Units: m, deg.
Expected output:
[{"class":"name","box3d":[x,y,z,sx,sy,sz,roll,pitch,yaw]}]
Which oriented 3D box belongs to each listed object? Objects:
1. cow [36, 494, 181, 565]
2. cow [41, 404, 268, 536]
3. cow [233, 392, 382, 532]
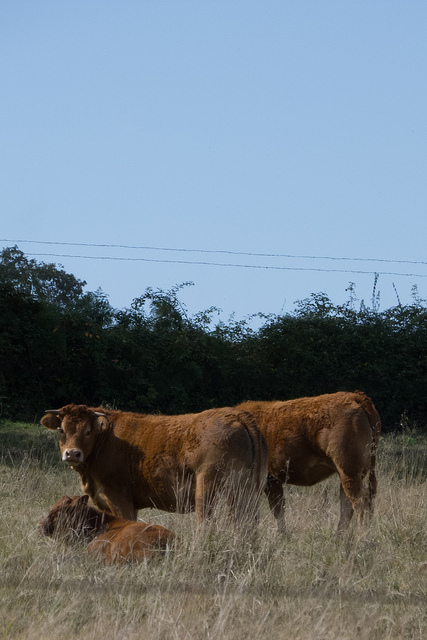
[{"class":"cow","box3d":[-0.775,1.581,7.994,1.196,0.399,0.589,4,3,38]},{"class":"cow","box3d":[-0.500,1.447,9.296,2.009,1.374,0.666,-1,-8,18]},{"class":"cow","box3d":[0.821,1.490,10.627,1.864,1.372,0.584,-4,-5,33]}]
